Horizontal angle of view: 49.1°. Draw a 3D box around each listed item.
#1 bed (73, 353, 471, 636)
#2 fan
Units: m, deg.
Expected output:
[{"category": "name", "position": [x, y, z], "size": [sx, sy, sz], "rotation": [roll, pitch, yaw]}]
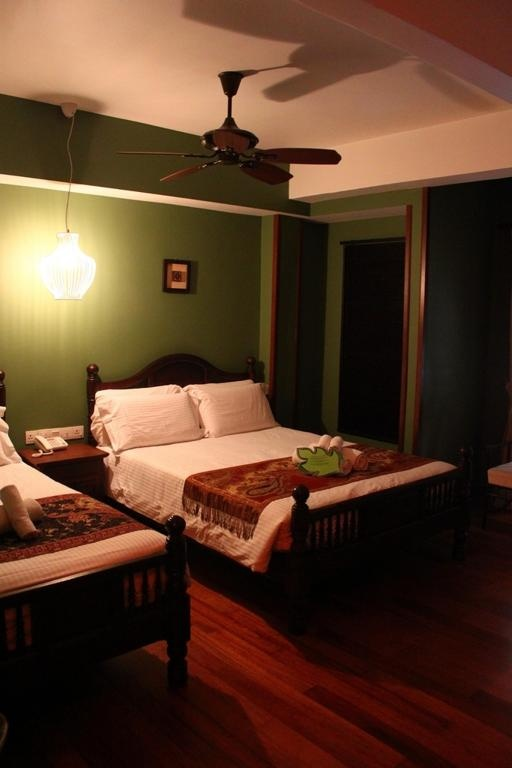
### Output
[{"category": "bed", "position": [-0.033, 0.572, 3.834], "size": [1.708, 1.173, 1.983], "rotation": [-6, 11, -37]}, {"category": "fan", "position": [-0.109, -1.347, 2.855], "size": [1.047, 0.405, 1.084], "rotation": [28, 39, 36]}]
